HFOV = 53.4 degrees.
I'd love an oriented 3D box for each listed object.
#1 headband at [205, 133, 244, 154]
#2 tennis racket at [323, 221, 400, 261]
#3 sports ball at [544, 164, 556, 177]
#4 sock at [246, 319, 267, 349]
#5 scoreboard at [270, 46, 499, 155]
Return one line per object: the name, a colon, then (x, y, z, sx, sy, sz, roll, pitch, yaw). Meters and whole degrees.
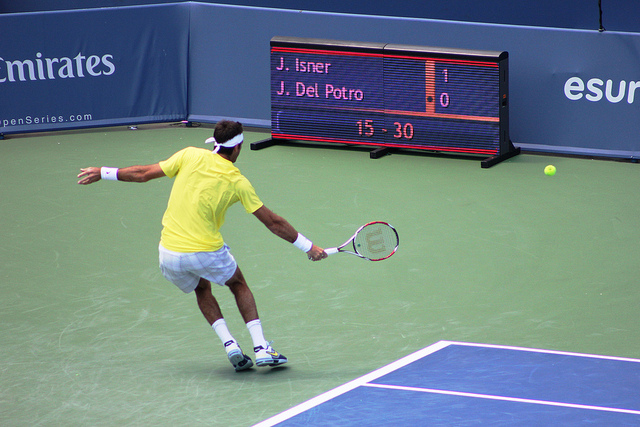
headband: (-0.899, -0.659, 6.037, 0.308, 0.086, 0.201, -20, 44, -13)
tennis racket: (0.322, 0.372, 7.153, 1.242, 0.416, 0.080, -16, -18, 37)
sports ball: (3.972, -0.743, 10.983, 0.204, 0.216, 0.193, 7, -22, 3)
sock: (-0.585, 1.147, 6.024, 0.138, 0.261, 0.168, -5, 5, -25)
scoreboard: (1.284, -2.216, 12.246, 5.021, 1.971, 1.676, 11, 23, 33)
